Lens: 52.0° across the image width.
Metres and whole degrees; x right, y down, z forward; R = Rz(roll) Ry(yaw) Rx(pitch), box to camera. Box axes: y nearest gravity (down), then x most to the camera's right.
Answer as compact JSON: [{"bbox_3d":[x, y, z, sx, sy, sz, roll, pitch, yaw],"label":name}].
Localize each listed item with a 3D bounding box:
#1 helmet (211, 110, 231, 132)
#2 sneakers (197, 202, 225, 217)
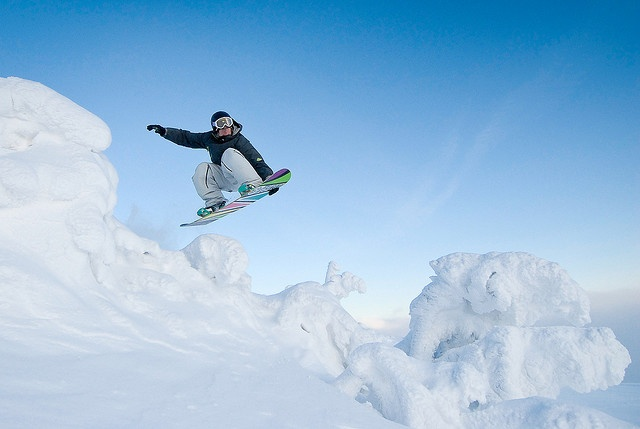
[{"bbox_3d":[-2.414,-2.246,16.111,0.484,0.451,0.515,8,-23,-2],"label":"helmet"},{"bbox_3d":[-2.551,-0.083,15.547,0.672,0.209,0.299,-14,-6,13],"label":"sneakers"}]
